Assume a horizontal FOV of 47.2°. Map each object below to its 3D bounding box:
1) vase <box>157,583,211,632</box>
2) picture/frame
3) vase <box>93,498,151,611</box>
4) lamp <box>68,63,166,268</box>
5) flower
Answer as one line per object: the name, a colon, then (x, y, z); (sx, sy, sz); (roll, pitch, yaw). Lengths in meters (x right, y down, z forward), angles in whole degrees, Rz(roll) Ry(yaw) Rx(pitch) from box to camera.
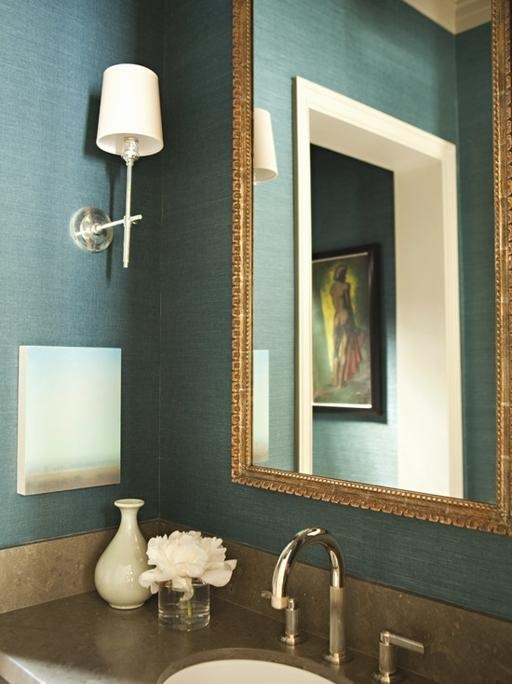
vase: (-0.142, 0.518, 1.197); (0.081, 0.104, 0.091); (-1, -9, 17)
picture/frame: (0.177, -0.019, 1.082); (0.020, 0.377, 0.250); (4, -9, -29)
vase: (-0.289, 0.475, 1.292); (0.113, 0.239, 0.092); (1, 0, -24)
lamp: (-0.286, -0.417, 1.425); (0.213, 0.480, 0.249); (1, 0, 36)
flower: (-0.134, 0.443, 1.171); (0.127, 0.104, 0.145); (3, -1, -7)
